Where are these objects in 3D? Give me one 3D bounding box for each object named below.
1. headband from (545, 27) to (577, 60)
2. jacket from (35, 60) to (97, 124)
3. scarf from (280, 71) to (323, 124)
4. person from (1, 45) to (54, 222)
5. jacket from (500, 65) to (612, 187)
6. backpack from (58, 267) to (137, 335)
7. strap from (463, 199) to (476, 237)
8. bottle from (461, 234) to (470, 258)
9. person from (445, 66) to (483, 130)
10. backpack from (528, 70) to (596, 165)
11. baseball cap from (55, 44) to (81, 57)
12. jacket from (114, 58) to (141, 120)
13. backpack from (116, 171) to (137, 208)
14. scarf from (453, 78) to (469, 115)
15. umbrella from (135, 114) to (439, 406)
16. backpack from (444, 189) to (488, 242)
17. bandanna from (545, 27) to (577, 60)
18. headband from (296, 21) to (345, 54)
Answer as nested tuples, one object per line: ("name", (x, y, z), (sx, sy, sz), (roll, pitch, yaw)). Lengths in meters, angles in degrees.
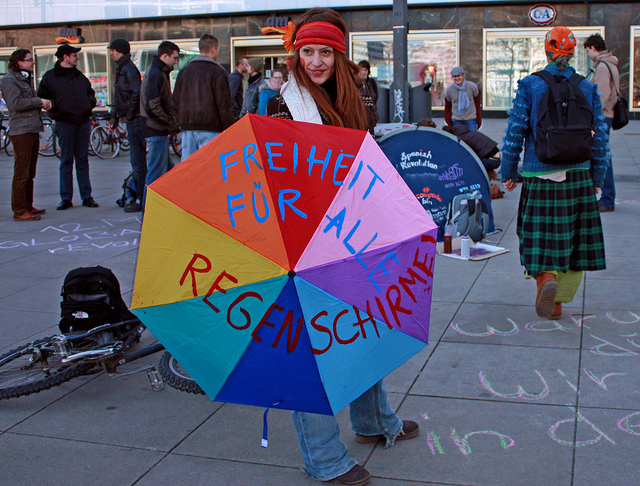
("headband", (2.003, -1.666, 5.078), (0.302, 0.289, 0.333), (5, 30, 18))
("jacket", (-4.070, -2.394, 9.811), (0.699, 1.088, 0.619), (17, 25, 36))
("scarf", (-0.111, -0.748, 3.216), (0.192, 0.267, 0.071), (-1, -11, -16))
("person", (-4.407, -1.606, 9.054), (0.567, 2.510, 0.630), (1, 9, 10))
("jacket", (1.941, -0.934, 5.169), (0.742, 1.163, 0.609), (9, 14, 10))
("backpack", (-1.735, 0.472, 4.597), (0.441, 0.582, 0.630), (-4, -12, -1))
("strap", (1.824, -0.313, 7.431), (0.180, 0.434, 0.094), (-3, 9, -13))
("bottle", (1.650, 0.038, 6.954), (0.094, 0.212, 0.234), (1, 10, 13))
("person", (2.998, -3.036, 12.823), (0.754, 1.281, 0.871), (1, 9, 11))
("backpack", (1.957, -1.021, 4.932), (0.467, 0.763, 0.347), (2, 9, 17))
("baseball cap", (-4.016, -3.035, 9.662), (0.373, 0.148, 0.239), (-18, 34, -23))
("jacket", (-3.202, -2.564, 10.125), (0.473, 1.043, 0.758), (-9, 5, -27))
("backpack", (-3.097, -0.898, 10.076), (0.386, 0.373, 0.354), (8, 15, -7))
("scarf", (2.933, -3.062, 12.741), (0.321, 0.736, 0.193), (-1, 9, 2))
("umbrella", (-0.168, 0.118, 3.311), (1.381, 1.358, 0.495), (-44, -1, -2))
("backpack", (1.821, -0.314, 7.563), (0.479, 0.630, 0.342), (-8, 11, -24))
("bandanna", (1.989, -1.674, 5.058), (0.271, 0.257, 0.306), (5, 33, 14))
("headband", (-0.009, -1.090, 3.246), (0.173, 0.113, 0.191), (4, 0, 2))
